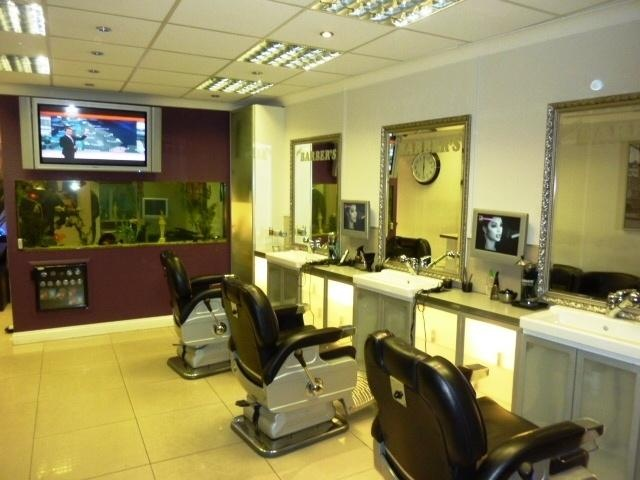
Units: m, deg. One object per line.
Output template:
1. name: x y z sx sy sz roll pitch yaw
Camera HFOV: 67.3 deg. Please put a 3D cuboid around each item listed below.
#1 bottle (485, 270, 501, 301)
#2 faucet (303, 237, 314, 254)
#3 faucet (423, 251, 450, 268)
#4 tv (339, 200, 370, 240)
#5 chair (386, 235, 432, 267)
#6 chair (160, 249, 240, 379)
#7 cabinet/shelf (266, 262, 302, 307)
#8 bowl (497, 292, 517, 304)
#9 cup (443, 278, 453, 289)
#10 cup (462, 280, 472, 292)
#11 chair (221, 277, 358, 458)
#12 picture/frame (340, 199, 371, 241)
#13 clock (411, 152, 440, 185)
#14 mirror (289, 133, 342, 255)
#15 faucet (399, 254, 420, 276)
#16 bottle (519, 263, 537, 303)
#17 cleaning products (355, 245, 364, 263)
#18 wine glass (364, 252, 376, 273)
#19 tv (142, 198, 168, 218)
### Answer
1. bottle: 1.519 0.374 4.189 0.092 0.229 0.220 5 13 21
2. faucet: -0.156 0.049 6.208 0.143 0.177 0.166 5 10 25
3. faucet: 1.140 0.181 4.665 0.039 0.040 0.235 12 -42 -44
4. tv: 0.400 -0.241 5.459 0.235 0.470 0.407 -6 1 -35
5. chair: 0.898 0.101 4.941 0.263 0.232 0.270 -3 5 -42
6. chair: -1.207 0.743 5.456 1.177 1.367 1.115 -3 6 -31
7. cabinet/shelf: -0.411 0.510 5.676 0.169 0.485 0.475 -5 5 -31
8. bowl: 1.560 0.468 4.021 0.097 0.050 0.095 1 0 0
9. cup: 1.201 0.416 4.515 0.069 0.133 0.134 -3 -7 35
10. cup: 1.350 0.412 4.408 0.100 0.094 0.131 3 13 13
11. chair: -0.343 0.903 4.349 1.274 1.571 1.238 -4 7 -34
12. picture/frame: 0.409 -0.243 5.454 0.226 0.473 0.410 -6 -1 -35
13. clock: 1.044 -0.704 4.710 0.077 0.348 0.290 -2 8 -35
14. mirror: -0.032 -0.597 6.066 0.075 2.016 1.379 -3 6 -33
15. faucet: 0.864 0.247 4.815 0.083 0.143 0.314 -2 14 -28
16. bottle: 1.712 0.338 3.913 0.126 0.301 0.144 6 13 23
17. cleaning products: 0.439 0.155 5.313 0.088 0.153 0.147 2 0 0
18. wine glass: 0.534 0.228 5.236 0.154 0.259 0.162 1 1 35
19. tv: -2.246 -0.455 6.514 0.374 0.330 0.205 1 7 -28
